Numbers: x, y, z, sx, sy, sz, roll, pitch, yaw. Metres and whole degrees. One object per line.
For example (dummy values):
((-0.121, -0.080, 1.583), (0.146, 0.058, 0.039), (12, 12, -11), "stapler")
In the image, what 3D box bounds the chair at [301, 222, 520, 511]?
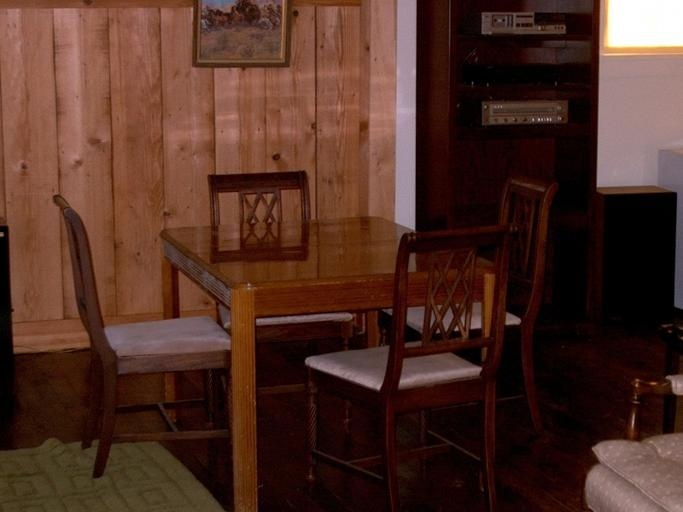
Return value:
((0.274, 0.356, 2.383), (0.611, 1.017, 0.626), (-11, 17, -37), "chair")

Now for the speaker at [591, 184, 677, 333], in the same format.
((1.923, 0.008, 4.356), (0.551, 0.831, 0.172), (-2, 13, -1), "speaker")

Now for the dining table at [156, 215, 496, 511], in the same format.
((-0.121, 0.368, 2.635), (0.912, 0.745, 1.348), (-2, 10, -18), "dining table")
